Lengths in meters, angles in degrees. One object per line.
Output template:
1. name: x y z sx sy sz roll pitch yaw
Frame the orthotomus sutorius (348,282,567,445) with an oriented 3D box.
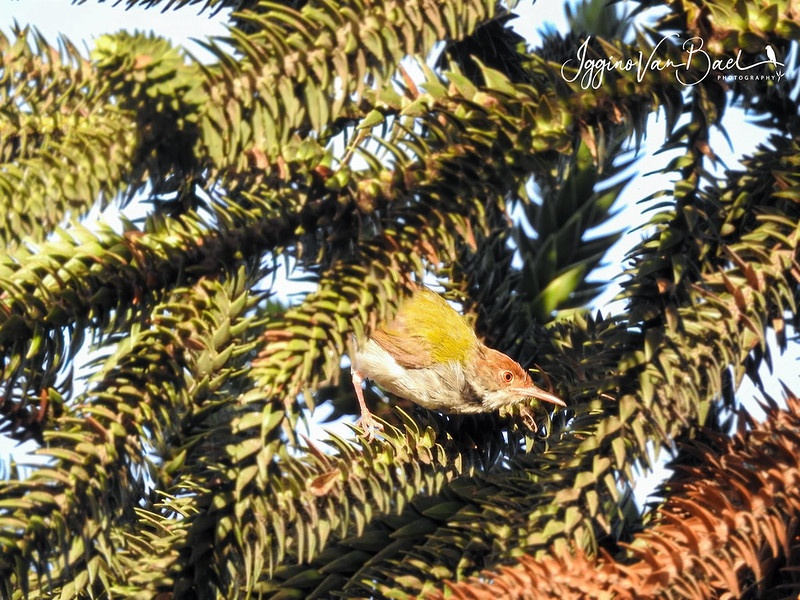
1. orthotomus sutorius: 0.089 0.140 4.008 0.338 0.188 0.267 24 -12 -1
